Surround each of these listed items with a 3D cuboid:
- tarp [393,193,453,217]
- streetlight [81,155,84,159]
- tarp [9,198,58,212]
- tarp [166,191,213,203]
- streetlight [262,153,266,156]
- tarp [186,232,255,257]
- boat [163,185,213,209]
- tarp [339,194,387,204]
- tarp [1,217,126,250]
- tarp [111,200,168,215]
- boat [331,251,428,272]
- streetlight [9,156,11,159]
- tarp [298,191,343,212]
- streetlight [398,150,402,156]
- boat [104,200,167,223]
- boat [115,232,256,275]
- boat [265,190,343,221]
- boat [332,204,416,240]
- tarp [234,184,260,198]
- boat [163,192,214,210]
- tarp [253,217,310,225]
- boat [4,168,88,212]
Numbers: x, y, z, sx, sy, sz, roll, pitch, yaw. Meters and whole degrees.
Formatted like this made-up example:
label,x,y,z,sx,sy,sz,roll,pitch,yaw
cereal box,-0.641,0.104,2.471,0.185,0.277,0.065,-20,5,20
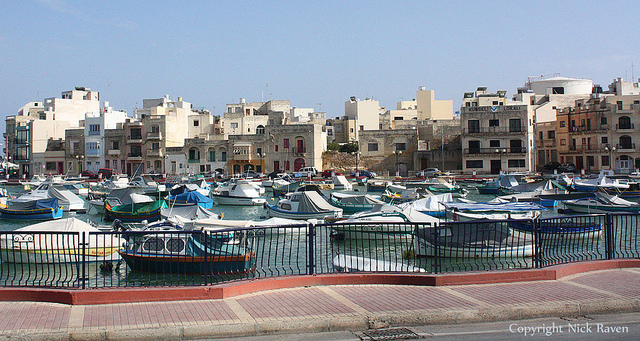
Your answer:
label,x,y,z,sx,sy,sz,roll,pitch,yaw
tarp,11.692,4.021,101.833,7.599,1.867,2.555,1,-7,-3
streetlight,-44.623,-2.491,163.975,0.808,0.610,0.179,1,11,-36
tarp,-35.139,4.386,107.921,6.713,1.146,1.904,0,-6,-2
tarp,-17.129,3.494,113.063,6.239,1.253,1.803,3,-2,5
streetlight,-10.048,-2.789,157.061,0.643,0.465,0.302,1,5,9
tarp,-12.527,7.677,87.126,9.448,2.834,2.422,1,18,4
boat,-17.920,3.665,113.671,6.694,1.893,3.084,2,5,20
tarp,5.718,3.601,105.359,7.172,1.145,1.536,1,0,13
tarp,-26.522,6.553,89.022,11.541,2.858,9.549,-2,-1,21
tarp,-21.437,4.417,104.066,6.306,1.117,2.090,-2,6,-2
boat,5.897,9.166,86.343,9.046,1.237,1.993,5,5,33
streetlight,-65.625,-2.579,184.857,0.745,0.583,0.734,2,-5,-43
tarp,0.062,3.735,101.752,4.666,1.711,2.396,3,2,13
streetlight,14.371,-3.007,157.504,0.847,0.938,0.268,5,0,24
boat,-22.240,5.052,104.258,7.904,2.058,2.690,-1,5,6
boat,-13.723,8.580,88.350,15.509,3.378,4.832,-3,-1,18
boat,-1.726,4.254,102.704,8.932,2.523,3.498,1,1,25
boat,5.068,5.852,93.507,11.052,3.010,5.980,1,-4,-21
tarp,-9.899,2.796,118.670,3.428,1.183,1.659,2,0,1
boat,-16.763,4.027,113.016,5.235,1.433,2.643,0,3,-1
tarp,-4.036,5.699,97.077,5.705,0.636,1.189,2,-2,0
boat,-36.040,3.193,119.062,19.449,6.780,6.873,0,0,-6
